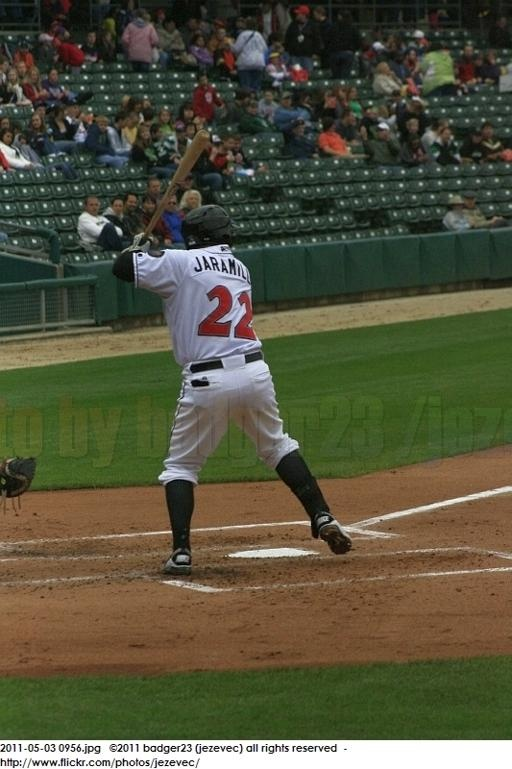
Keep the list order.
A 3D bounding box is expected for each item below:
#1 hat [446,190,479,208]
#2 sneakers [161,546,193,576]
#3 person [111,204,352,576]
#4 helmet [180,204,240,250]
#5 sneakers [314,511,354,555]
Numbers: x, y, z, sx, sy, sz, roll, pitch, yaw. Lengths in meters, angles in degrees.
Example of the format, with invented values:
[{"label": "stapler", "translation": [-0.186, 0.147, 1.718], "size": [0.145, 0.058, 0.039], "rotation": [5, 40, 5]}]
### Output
[{"label": "hat", "translation": [3.218, -2.863, 17.483], "size": [0.503, 0.335, 0.601], "rotation": [2, 17, -4]}, {"label": "sneakers", "translation": [-0.364, 0.817, 5.144], "size": [0.124, 0.137, 0.125], "rotation": [-2, 6, -7]}, {"label": "person", "translation": [-0.144, 0.098, 5.221], "size": [0.981, 1.501, 0.432], "rotation": [-3, 7, -7]}, {"label": "helmet", "translation": [-0.211, -0.756, 5.418], "size": [0.267, 0.206, 0.197], "rotation": [16, 20, 24]}, {"label": "sneakers", "translation": [0.355, 0.698, 5.215], "size": [0.113, 0.259, 0.111], "rotation": [-24, 51, 15]}]
